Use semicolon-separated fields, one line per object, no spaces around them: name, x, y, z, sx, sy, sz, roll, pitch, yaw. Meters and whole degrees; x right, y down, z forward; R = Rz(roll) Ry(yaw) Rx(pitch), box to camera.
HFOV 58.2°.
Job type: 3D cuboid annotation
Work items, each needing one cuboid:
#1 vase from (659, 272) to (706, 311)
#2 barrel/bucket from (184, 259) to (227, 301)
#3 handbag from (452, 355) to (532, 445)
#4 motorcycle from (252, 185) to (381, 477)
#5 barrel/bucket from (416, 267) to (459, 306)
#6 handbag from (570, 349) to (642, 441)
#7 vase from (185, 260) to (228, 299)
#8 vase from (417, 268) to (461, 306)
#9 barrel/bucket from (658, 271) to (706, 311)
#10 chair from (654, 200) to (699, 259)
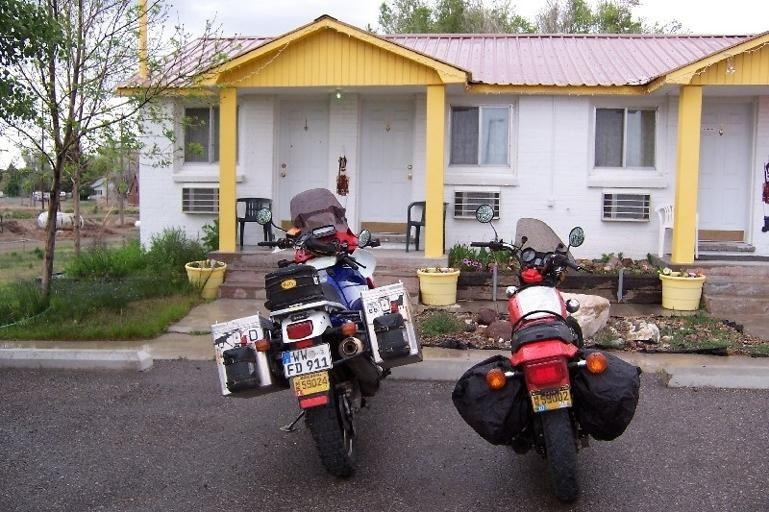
vase;5.179;0.601;12.010;0.635;0.513;0.672;-1;5;-11
barrel/bucket;-3.216;0.419;12.377;0.649;0.549;0.691;-1;2;0
handbag;1.036;1.417;6.888;0.588;0.842;0.841;10;-5;25
motorcycle;-0.600;0.765;7.100;1.223;2.797;1.155;0;6;4
barrel/bucket;0.947;0.533;12.307;0.782;0.624;0.825;-1;9;0
handbag;2.081;1.332;6.470;0.582;0.850;0.304;16;5;16
vase;-3.239;0.421;12.428;0.632;0.523;0.684;-1;0;3
vase;0.939;0.536;12.012;0.642;0.509;0.654;0;-2;-8
barrel/bucket;5.133;0.591;12.004;0.643;0.525;0.683;1;5;0
chair;5.669;-0.497;13.384;0.784;1.016;0.997;2;7;21
